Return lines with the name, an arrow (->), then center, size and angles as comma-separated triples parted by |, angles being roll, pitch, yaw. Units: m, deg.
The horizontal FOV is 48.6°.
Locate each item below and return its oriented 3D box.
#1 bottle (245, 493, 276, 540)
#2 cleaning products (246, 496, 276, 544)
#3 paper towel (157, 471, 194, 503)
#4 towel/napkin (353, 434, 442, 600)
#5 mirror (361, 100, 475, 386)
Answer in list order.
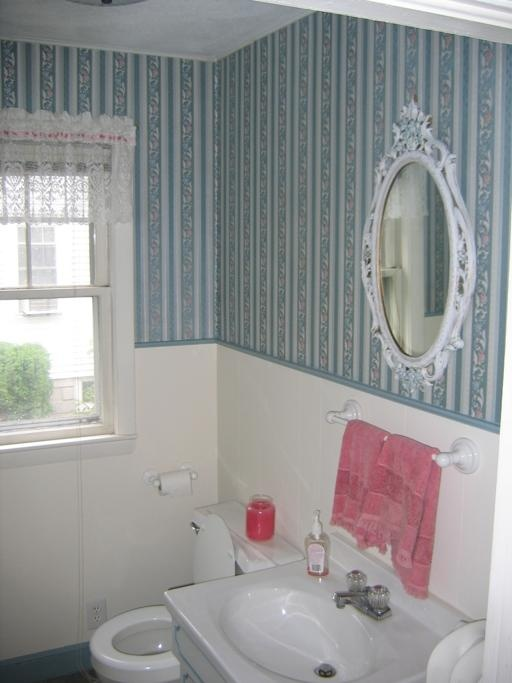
bottle -> 0.016, 0.612, 1.938 | 0.092, 0.199, 0.115 | 1, -9, -1
cleaning products -> 0.015, 0.629, 1.984 | 0.094, 0.154, 0.113 | -1, -7, 15
paper towel -> -0.291, 0.543, 2.080 | 0.115, 0.089, 0.048 | 3, 1, -37
towel/napkin -> 0.302, 0.356, 1.187 | 0.090, 0.277, 0.206 | -11, 8, -18
mirror -> 0.333, -0.200, 1.186 | 0.084, 0.601, 0.340 | -9, 8, -9
